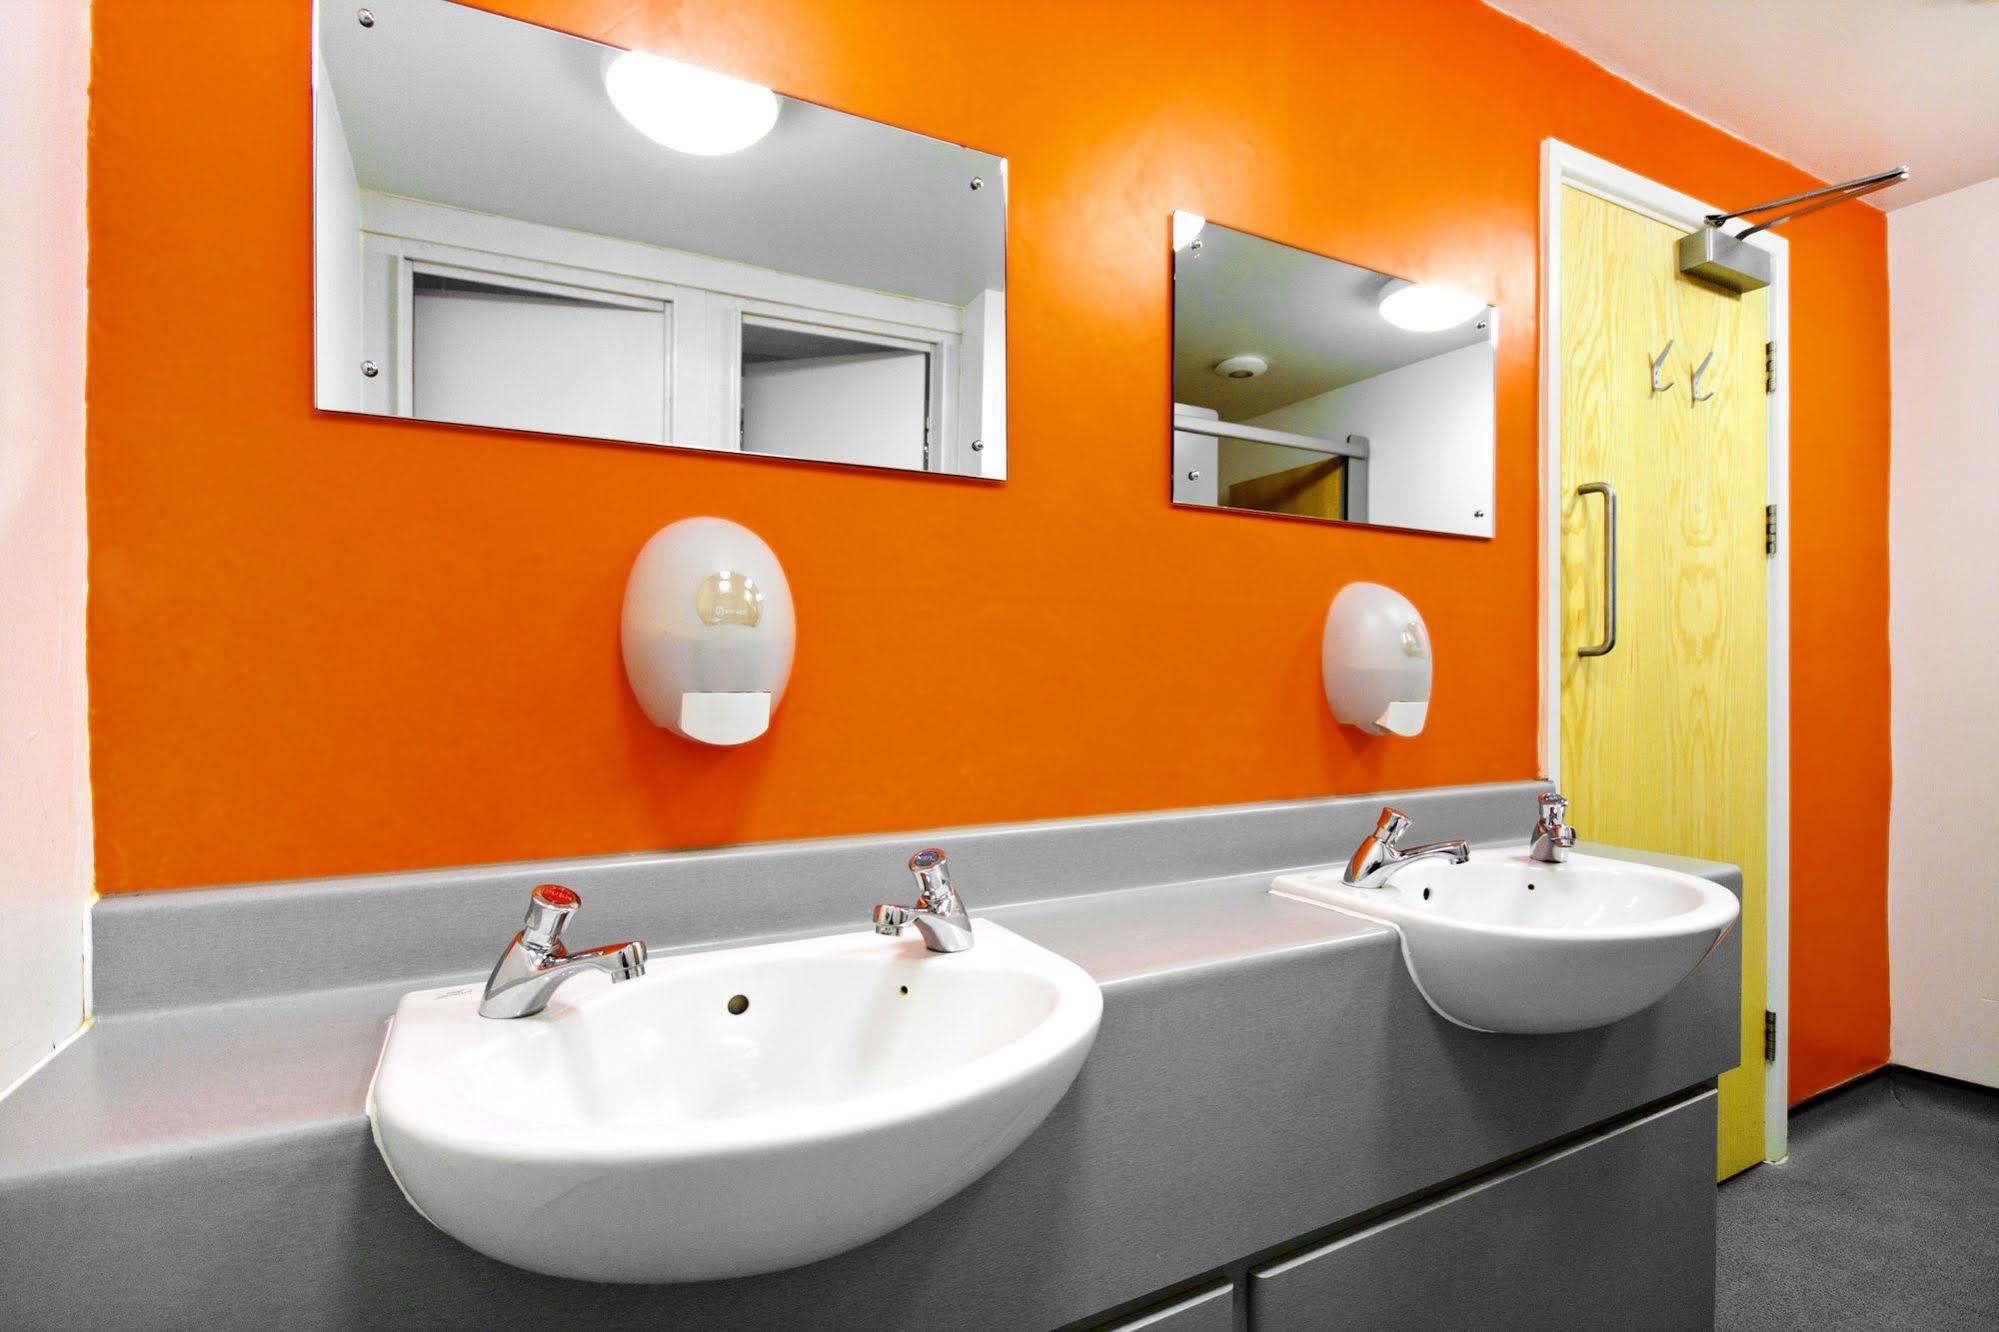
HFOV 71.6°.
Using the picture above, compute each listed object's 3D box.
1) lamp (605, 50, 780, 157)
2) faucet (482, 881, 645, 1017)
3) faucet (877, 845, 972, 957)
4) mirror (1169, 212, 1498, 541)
[{"bbox_3d":[-0.522,-0.969,2.499,0.319,0.097,0.339,0,9,15],"label":"lamp"},{"bbox_3d":[-0.610,0.430,2.122,0.321,0.241,0.124,1,4,6],"label":"faucet"},{"bbox_3d":[-0.103,0.402,2.335,0.205,0.194,0.107,8,-9,-30],"label":"faucet"},{"bbox_3d":[0.673,-0.603,2.906,0.756,0.452,0.010,3,-7,-26],"label":"mirror"}]
